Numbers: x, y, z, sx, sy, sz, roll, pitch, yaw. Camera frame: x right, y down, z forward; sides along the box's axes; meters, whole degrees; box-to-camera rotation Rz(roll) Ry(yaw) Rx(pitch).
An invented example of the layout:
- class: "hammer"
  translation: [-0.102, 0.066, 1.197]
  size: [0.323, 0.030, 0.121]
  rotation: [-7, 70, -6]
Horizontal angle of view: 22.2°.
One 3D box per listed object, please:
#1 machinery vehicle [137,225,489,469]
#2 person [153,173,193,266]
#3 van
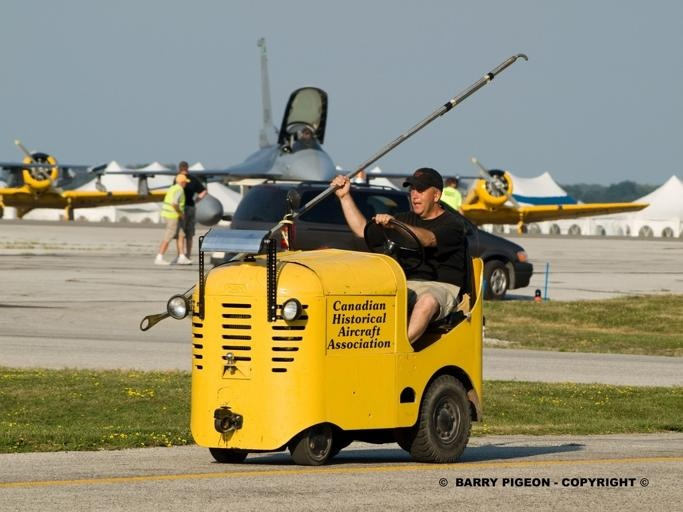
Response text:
- class: "machinery vehicle"
  translation: [-0.096, 1.355, 23.838]
  size: [4.007, 2.665, 2.847]
  rotation: [5, -6, -42]
- class: "person"
  translation: [-3.601, -0.813, 37.885]
  size: [0.610, 1.940, 0.691]
  rotation: [3, 4, 26]
- class: "van"
  translation: [1.059, -0.449, 32.186]
  size: [5.088, 1.896, 2.594]
  rotation: [-2, 3, -26]
